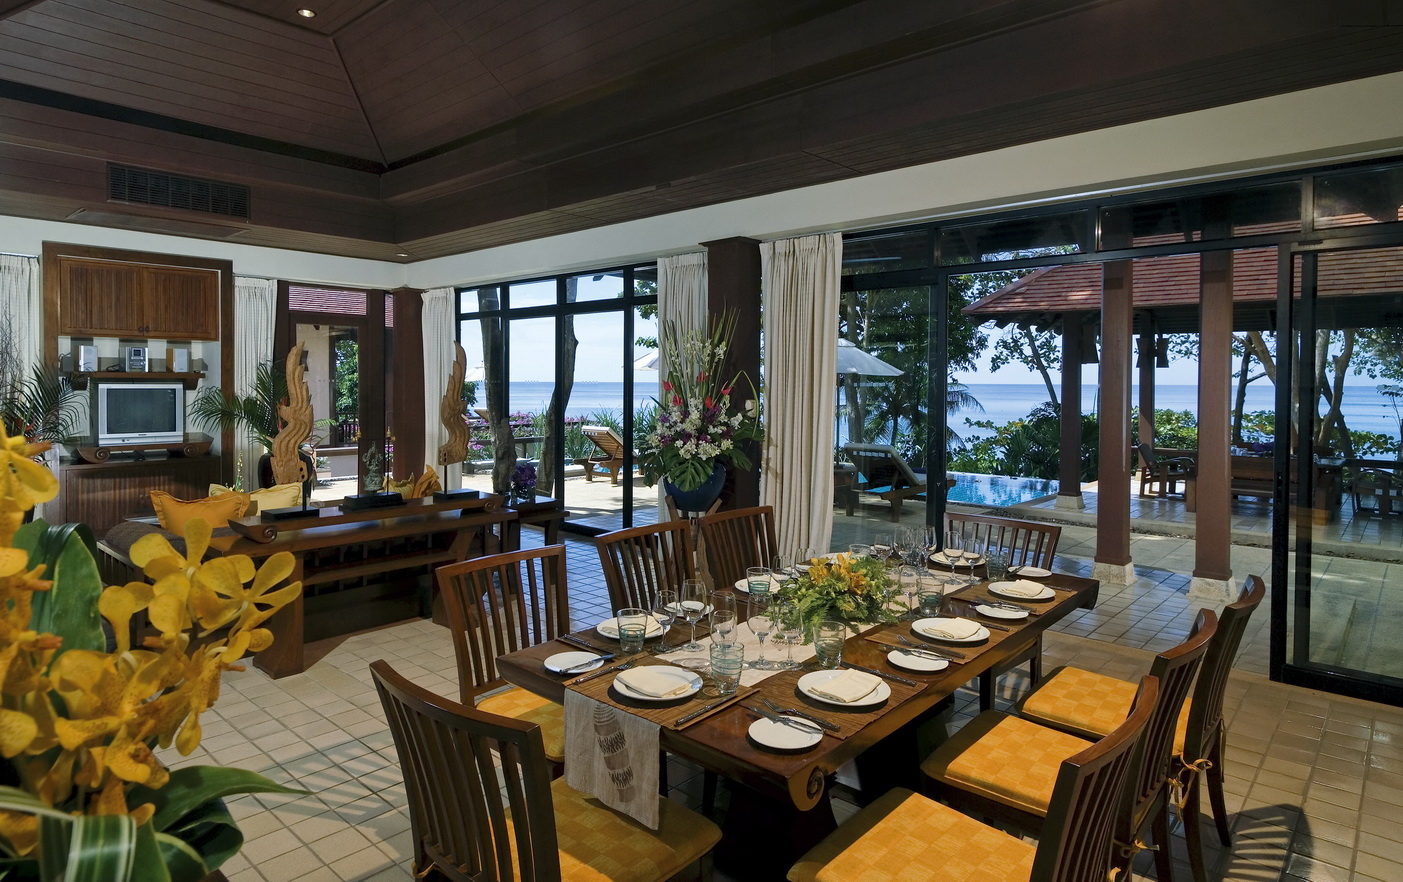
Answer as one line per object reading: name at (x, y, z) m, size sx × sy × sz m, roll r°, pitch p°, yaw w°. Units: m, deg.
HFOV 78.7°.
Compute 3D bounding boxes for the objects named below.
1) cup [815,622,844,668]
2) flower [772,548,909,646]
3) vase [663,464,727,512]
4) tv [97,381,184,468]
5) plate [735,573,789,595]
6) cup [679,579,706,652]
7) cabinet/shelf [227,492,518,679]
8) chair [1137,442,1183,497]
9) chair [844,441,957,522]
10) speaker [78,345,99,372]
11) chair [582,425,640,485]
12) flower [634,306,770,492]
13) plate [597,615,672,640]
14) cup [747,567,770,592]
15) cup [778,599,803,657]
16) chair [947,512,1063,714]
cup at (0.518, 0.825, 3.431) m, size 0.127 × 0.171 × 0.088 m, roll -3°, pitch 14°, yaw -8°
flower at (0.619, 0.614, 3.632) m, size 0.436 × 0.283 × 0.432 m, roll -22°, pitch -13°, yaw 35°
vase at (-0.059, 0.358, 6.547) m, size 0.408 × 0.266 × 0.394 m, roll -1°, pitch 0°, yaw -38°
tv at (-5.540, -0.284, 8.406) m, size 0.371 × 0.599 × 0.719 m, roll 6°, pitch 6°, yaw 42°
plate at (0.278, 0.690, 4.153) m, size 0.161 × 0.026 × 0.157 m, roll 0°, pitch 3°, yaw 24°
cup at (-0.020, 0.771, 3.797) m, size 0.128 × 0.268 × 0.120 m, roll 4°, pitch -5°, yaw 0°
cabinet/shelf at (-2.328, 0.887, 5.977) m, size 0.666 × 1.039 × 2.151 m, roll 7°, pitch 3°, yaw 28°
chair at (4.934, 0.283, 9.340) m, size 0.617 × 0.598 × 0.545 m, roll 4°, pitch 7°, yaw 27°
chair at (1.594, 0.243, 6.863) m, size 0.803 × 0.435 × 0.404 m, roll -9°, pitch 12°, yaw -39°
speaker at (-5.759, -0.806, 8.059) m, size 0.066 × 0.223 × 0.172 m, roll 5°, pitch 15°, yaw 25°
chair at (-0.977, 0.079, 8.868) m, size 0.639 × 0.438 × 0.452 m, roll -5°, pitch 7°, yaw -33°
flower at (-0.029, -0.251, 6.819) m, size 1.014 × 1.240 × 1.030 m, roll -6°, pitch 1°, yaw 27°
plate at (-0.281, 0.790, 3.655) m, size 0.176 × 0.022 × 0.172 m, roll 0°, pitch 3°, yaw 18°
cup at (0.265, 0.634, 3.994) m, size 0.110 × 0.115 × 0.105 m, roll -2°, pitch 4°, yaw 0°
cup at (0.360, 0.759, 3.510) m, size 0.087 × 0.263 × 0.173 m, roll -1°, pitch 14°, yaw 4°
chair at (1.585, 0.894, 4.551) m, size 0.690 × 0.730 × 1.019 m, roll -5°, pitch 14°, yaw 20°
